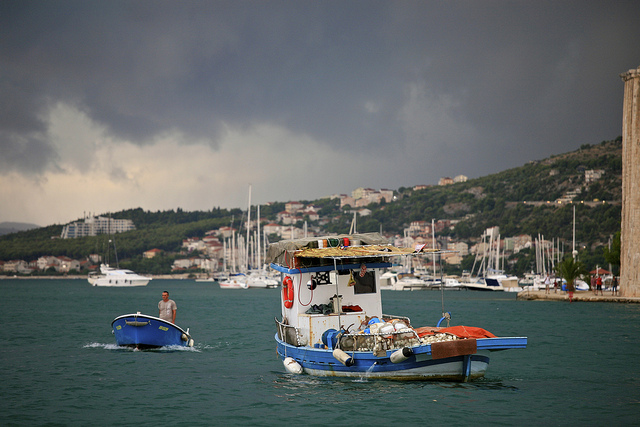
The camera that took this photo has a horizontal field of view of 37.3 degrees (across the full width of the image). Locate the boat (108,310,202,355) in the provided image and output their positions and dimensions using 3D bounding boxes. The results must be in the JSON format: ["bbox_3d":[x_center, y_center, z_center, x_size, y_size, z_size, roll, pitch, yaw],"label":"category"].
[{"bbox_3d":[-15.631,11.116,89.073,7.350,3.940,2.070,-1,12,-2],"label":"boat"}]

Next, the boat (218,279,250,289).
[{"bbox_3d":[-16.229,13.333,181.193,6.912,1.997,2.015,3,-7,18],"label":"boat"}]

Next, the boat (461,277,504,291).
[{"bbox_3d":[28.008,12.327,163.767,1.835,1.829,6.368,2,0,-35],"label":"boat"}]

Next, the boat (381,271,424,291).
[{"bbox_3d":[14.271,12.819,175.964,3.147,2.451,5.513,-1,0,-40],"label":"boat"}]

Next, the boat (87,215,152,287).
[{"bbox_3d":[-37.748,7.014,179.539,14.014,14.503,4.489,-2,4,22],"label":"boat"}]
